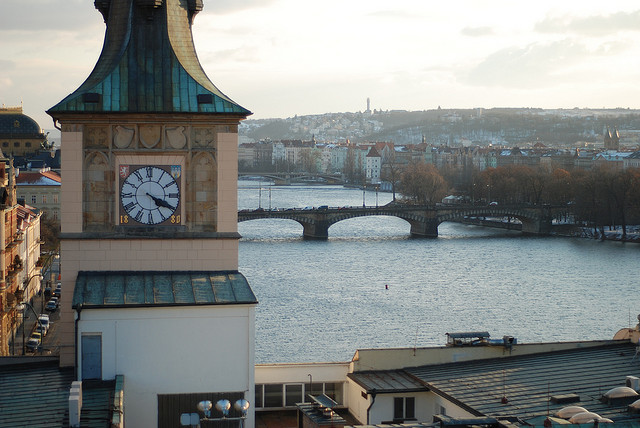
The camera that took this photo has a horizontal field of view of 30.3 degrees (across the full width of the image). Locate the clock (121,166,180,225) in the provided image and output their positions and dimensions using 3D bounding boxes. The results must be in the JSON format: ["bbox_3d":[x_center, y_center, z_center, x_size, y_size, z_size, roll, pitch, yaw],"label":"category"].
[{"bbox_3d":[-3.217,-0.364,22.199,1.235,1.088,0.062,1,6,1],"label":"clock"}]
